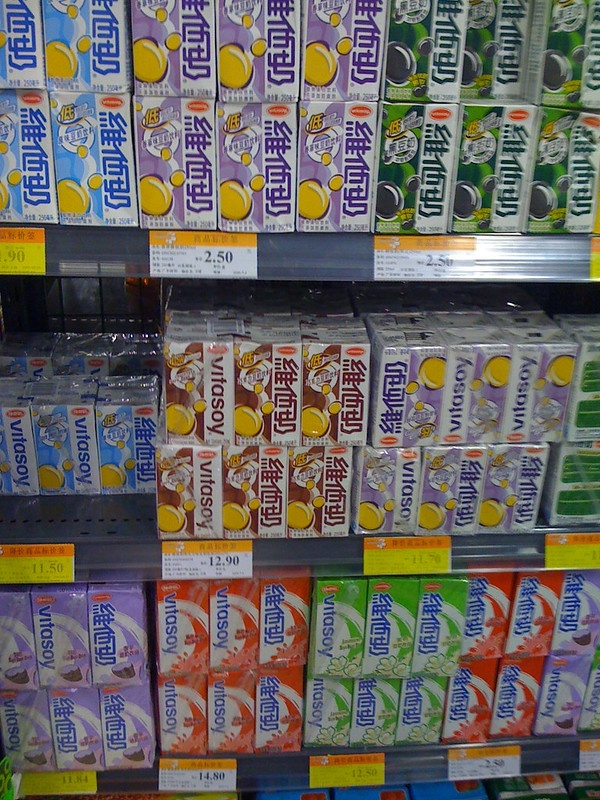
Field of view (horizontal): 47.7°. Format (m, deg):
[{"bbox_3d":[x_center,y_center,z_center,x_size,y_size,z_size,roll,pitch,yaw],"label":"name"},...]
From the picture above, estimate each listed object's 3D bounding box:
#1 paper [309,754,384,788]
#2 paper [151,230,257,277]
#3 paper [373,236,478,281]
[{"bbox_3d":[0.122,0.973,1.839,0.157,0.103,0.064,0,-1,-2],"label":"paper"},{"bbox_3d":[-0.190,-0.279,1.325,0.207,0.090,0.063,-3,16,-14],"label":"paper"},{"bbox_3d":[0.250,-0.283,1.365,0.205,0.083,0.056,2,16,5],"label":"paper"}]
